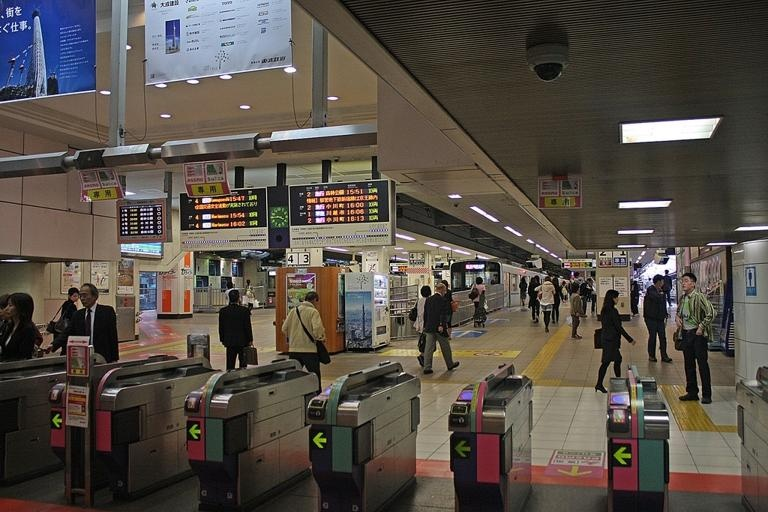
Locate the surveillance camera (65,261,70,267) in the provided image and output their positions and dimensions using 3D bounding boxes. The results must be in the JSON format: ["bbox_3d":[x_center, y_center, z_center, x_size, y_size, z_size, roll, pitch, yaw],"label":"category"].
[{"bbox_3d":[-9.472,0.236,16.504,0.199,0.183,0.044,1,0,-6],"label":"surveillance camera"}]

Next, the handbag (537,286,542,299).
[{"bbox_3d":[6.269,1.458,22.119,0.203,0.660,0.430,0,16,11],"label":"handbag"}]

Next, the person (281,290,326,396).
[{"bbox_3d":[-1.283,1.271,9.162,0.736,1.368,1.050,2,-4,-12],"label":"person"}]

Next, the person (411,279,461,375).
[{"bbox_3d":[1.219,1.767,12.852,0.663,1.816,0.838,-1,-5,29],"label":"person"}]

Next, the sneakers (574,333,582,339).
[{"bbox_3d":[6.339,2.588,17.884,0.145,0.175,0.466,2,2,25],"label":"sneakers"}]

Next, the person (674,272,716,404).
[{"bbox_3d":[5.379,1.394,9.530,0.579,2.209,0.890,-1,-5,27],"label":"person"}]

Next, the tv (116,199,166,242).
[{"bbox_3d":[-5.833,-0.862,13.311,1.105,0.874,0.375,0,-3,6],"label":"tv"}]

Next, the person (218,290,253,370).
[{"bbox_3d":[-2.802,1.401,10.440,0.600,1.544,1.447,2,-4,-14],"label":"person"}]

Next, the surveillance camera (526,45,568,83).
[{"bbox_3d":[1.201,-1.416,4.080,0.259,0.183,0.248,0,-5,-1],"label":"surveillance camera"}]

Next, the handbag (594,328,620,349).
[{"bbox_3d":[4.147,1.531,10.279,0.472,0.422,0.334,-2,-5,26],"label":"handbag"}]

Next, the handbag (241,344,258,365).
[{"bbox_3d":[-2.422,1.822,10.020,0.238,0.335,0.729,2,-4,-16],"label":"handbag"}]

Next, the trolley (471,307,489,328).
[{"bbox_3d":[4.049,2.556,22.523,0.524,0.791,0.858,1,-14,7],"label":"trolley"}]
